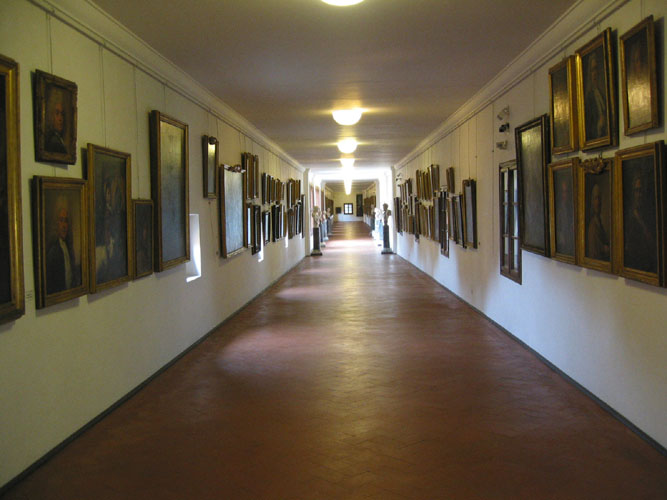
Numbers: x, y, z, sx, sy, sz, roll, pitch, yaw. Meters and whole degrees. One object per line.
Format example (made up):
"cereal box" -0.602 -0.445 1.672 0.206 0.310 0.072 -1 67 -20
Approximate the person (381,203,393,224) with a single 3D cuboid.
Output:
"person" 2.988 -1.901 24.687 0.390 1.055 1.314 0 5 9
